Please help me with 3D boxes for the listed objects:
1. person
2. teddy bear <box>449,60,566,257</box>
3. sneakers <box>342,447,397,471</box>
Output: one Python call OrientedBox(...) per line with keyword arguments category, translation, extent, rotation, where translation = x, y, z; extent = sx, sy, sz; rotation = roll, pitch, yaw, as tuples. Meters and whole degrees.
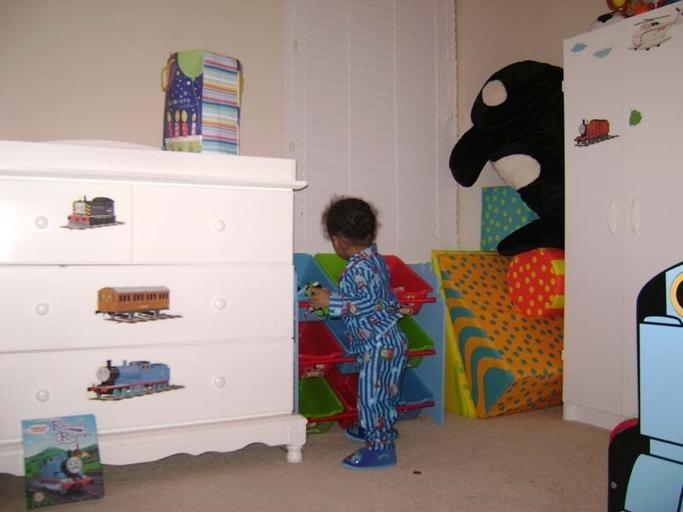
OrientedBox(category="person", translation=(0.083, 0.334, 2.705), extent=(0.456, 1.234, 0.474), rotation=(1, 4, 14))
OrientedBox(category="teddy bear", translation=(1.164, -0.624, 3.766), extent=(0.820, 1.265, 0.964), rotation=(-6, 8, 12))
OrientedBox(category="sneakers", translation=(0.129, 0.915, 2.522), extent=(0.190, 0.080, 0.104), rotation=(0, 2, -7))
